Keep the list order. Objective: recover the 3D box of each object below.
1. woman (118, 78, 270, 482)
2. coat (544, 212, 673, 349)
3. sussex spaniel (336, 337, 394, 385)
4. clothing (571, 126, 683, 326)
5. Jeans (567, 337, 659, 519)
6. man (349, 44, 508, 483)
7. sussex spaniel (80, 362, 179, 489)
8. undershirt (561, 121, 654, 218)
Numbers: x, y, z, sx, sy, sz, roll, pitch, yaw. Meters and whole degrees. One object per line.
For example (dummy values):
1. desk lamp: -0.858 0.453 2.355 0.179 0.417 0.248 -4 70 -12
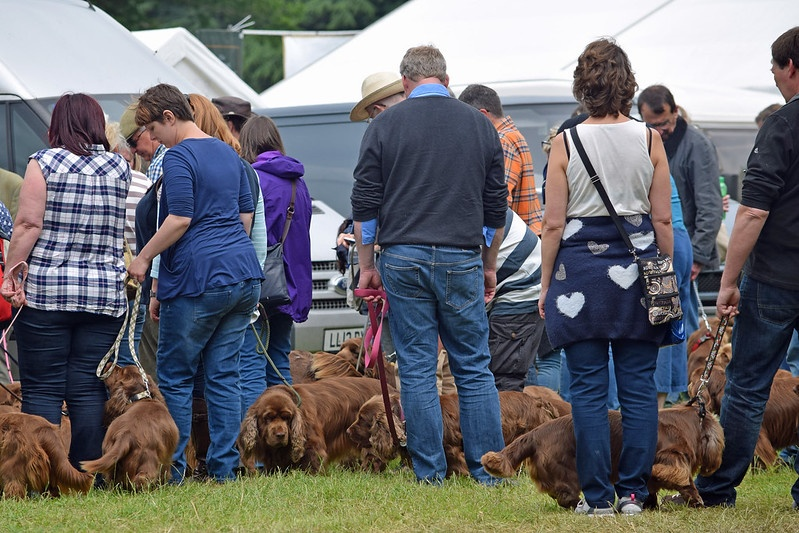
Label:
1. woman: -1.654 0.130 10.159 1.065 3.159 1.072 0 -2 -30
2. coat: 1.552 0.104 9.179 0.924 1.043 0.512 -1 -1 0
3. sussex spaniel: -0.278 0.805 11.524 0.571 0.378 0.357 7 -12 -43
4. clothing: 1.839 -0.296 9.575 0.563 2.139 0.225 6 -40 3
5. Jeans: 1.582 1.145 9.221 0.667 1.231 0.191 -2 -1 6
6. man: 0.228 -0.039 10.035 1.248 3.505 0.802 -1 -6 -7
7. sussex spaniel: -2.043 1.223 9.774 0.402 0.581 1.227 -1 19 -8
8. undershirt: 1.530 -0.720 9.198 0.640 0.667 0.360 -2 3 3
